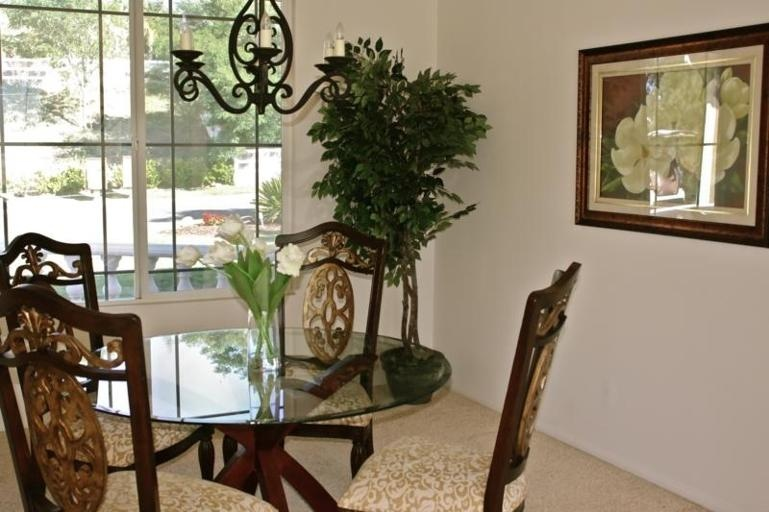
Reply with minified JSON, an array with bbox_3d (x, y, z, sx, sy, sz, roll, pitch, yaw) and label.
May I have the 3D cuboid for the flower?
[{"bbox_3d":[-0.629,0.087,2.920,0.604,0.767,0.609,9,12,42],"label":"flower"}]
